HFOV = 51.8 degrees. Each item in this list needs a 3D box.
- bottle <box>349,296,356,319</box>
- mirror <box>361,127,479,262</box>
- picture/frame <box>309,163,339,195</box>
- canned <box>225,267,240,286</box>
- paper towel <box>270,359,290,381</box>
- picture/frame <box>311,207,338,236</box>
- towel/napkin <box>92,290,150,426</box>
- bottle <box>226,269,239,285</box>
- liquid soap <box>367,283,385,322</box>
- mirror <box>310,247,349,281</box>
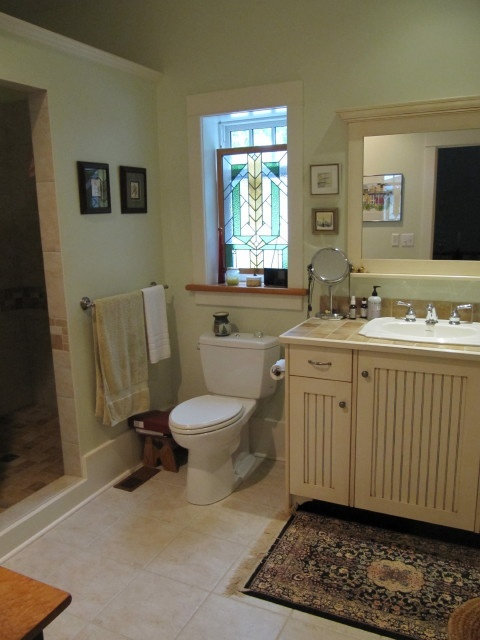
[{"bbox_3d":[0.560,-0.065,2.429,0.037,0.105,0.124,0,8,12],"label":"bottle"},{"bbox_3d":[0.820,-0.578,2.193,0.529,0.585,0.042,8,13,38],"label":"mirror"},{"bbox_3d":[0.425,-0.700,2.434,0.142,0.147,0.014,9,19,31],"label":"picture/frame"},{"bbox_3d":[-0.042,-0.251,2.865,0.081,0.095,0.089,1,2,15],"label":"canned"},{"bbox_3d":[0.190,0.239,2.345,0.065,0.113,0.108,3,15,7],"label":"paper towel"},{"bbox_3d":[0.430,-0.499,2.472,0.125,0.139,0.009,6,12,32],"label":"picture/frame"},{"bbox_3d":[-0.604,0.186,2.541,0.090,0.645,0.389,3,9,28],"label":"towel/napkin"},{"bbox_3d":[-0.041,-0.252,2.863,0.076,0.081,0.079,4,5,35],"label":"bottle"},{"bbox_3d":[0.654,-0.085,2.384,0.068,0.157,0.114,0,9,15],"label":"liquid soap"},{"bbox_3d":[0.437,-0.263,2.398,0.046,0.170,0.205,-9,11,-43],"label":"mirror"}]
